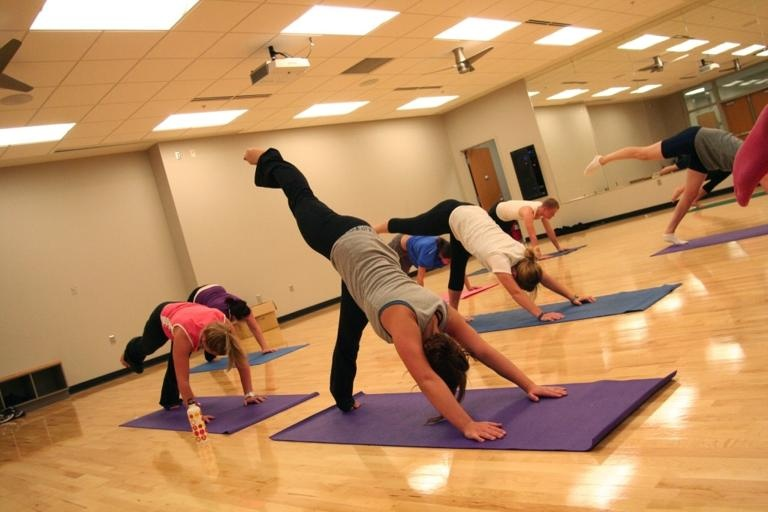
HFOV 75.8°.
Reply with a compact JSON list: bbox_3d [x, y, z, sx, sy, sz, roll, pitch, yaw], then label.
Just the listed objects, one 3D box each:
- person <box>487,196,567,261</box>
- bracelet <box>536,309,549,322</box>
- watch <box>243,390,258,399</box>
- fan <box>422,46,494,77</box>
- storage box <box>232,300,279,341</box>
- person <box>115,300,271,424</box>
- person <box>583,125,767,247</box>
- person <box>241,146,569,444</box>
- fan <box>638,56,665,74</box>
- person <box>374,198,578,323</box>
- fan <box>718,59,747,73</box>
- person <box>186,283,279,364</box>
[{"bbox_3d":[1.933,-0.460,7.102,0.514,0.681,1.180,-13,17,-36],"label":"person"},{"bbox_3d":[1.466,0.554,4.574,0.109,0.065,0.106,-2,-26,-2],"label":"bracelet"},{"bbox_3d":[-1.245,1.284,4.604,0.091,0.054,0.116,-2,0,-41],"label":"watch"},{"bbox_3d":[1.225,-3.285,8.346,0.727,0.251,0.687,-15,-13,13],"label":"fan"},{"bbox_3d":[-2.218,1.103,8.495,0.611,0.348,0.640,-22,-13,40],"label":"storage box"},{"bbox_3d":[-2.017,0.970,4.819,2.045,0.959,0.773,-6,-1,43],"label":"person"},{"bbox_3d":[3.620,-0.837,5.918,1.173,1.414,1.568,-9,5,35],"label":"person"},{"bbox_3d":[-0.102,-0.006,3.704,2.957,1.221,1.098,25,23,33],"label":"person"},{"bbox_3d":[5.255,-3.678,9.562,0.350,0.127,0.258,-2,4,24],"label":"fan"},{"bbox_3d":[0.870,0.036,5.003,0.933,0.981,2.563,-7,15,-40],"label":"person"},{"bbox_3d":[6.115,-3.300,8.656,0.336,0.235,0.104,-8,7,38],"label":"fan"},{"bbox_3d":[-2.162,0.711,6.050,1.243,0.602,1.882,10,-6,-34],"label":"person"}]
